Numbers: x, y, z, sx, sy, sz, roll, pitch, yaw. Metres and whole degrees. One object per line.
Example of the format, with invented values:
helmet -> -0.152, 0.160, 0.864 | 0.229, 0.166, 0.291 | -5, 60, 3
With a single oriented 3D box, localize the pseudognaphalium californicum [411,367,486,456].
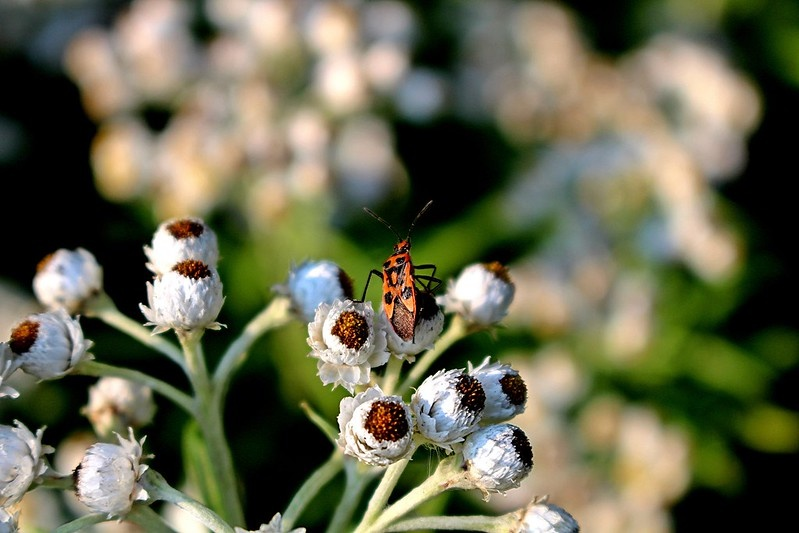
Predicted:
pseudognaphalium californicum -> 0.465, 1.041, 5.692 | 0.557, 0.357, 0.388 | 8, 17, 33

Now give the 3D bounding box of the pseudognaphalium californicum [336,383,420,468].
pseudognaphalium californicum -> -0.127, 0.867, 5.423 | 0.420, 0.421, 0.143 | 10, 1, -3

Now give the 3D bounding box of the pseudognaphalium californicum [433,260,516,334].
pseudognaphalium californicum -> 0.498, 0.177, 6.114 | 0.389, 0.402, 0.202 | 2, -6, 10

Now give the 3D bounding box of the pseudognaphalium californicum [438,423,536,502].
pseudognaphalium californicum -> 0.484, 1.075, 5.493 | 0.447, 0.328, 0.261 | -27, -22, -9

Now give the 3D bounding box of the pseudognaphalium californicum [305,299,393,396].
pseudognaphalium californicum -> -0.288, 0.439, 5.600 | 0.468, 0.501, 0.177 | 10, 1, -6
